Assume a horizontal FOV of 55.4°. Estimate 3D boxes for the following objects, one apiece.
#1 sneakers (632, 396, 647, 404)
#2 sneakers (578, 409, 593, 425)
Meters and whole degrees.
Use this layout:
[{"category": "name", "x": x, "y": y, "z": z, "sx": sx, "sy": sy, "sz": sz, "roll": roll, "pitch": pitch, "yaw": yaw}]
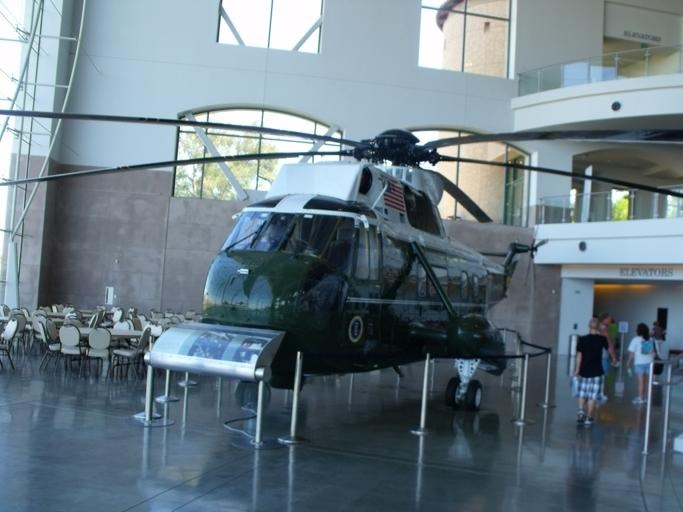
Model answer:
[{"category": "sneakers", "x": 6.603, "y": 3.242, "z": 14.554, "sx": 0.119, "sy": 0.138, "sz": 0.317, "roll": 0, "pitch": -12, "yaw": -6}, {"category": "sneakers", "x": 4.667, "y": 3.144, "z": 12.561, "sx": 0.159, "sy": 0.168, "sz": 0.423, "roll": -4, "pitch": -12, "yaw": 29}]
